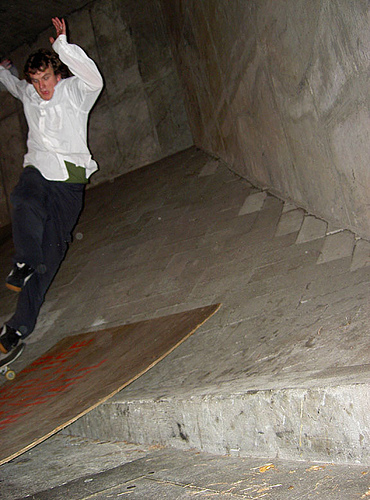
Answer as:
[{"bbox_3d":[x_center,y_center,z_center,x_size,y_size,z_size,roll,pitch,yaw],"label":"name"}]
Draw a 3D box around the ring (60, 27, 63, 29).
[{"bbox_3d":[-0.678,-1.210,3.112,0.012,0.011,0.010,-5,35,-6],"label":"ring"}]
